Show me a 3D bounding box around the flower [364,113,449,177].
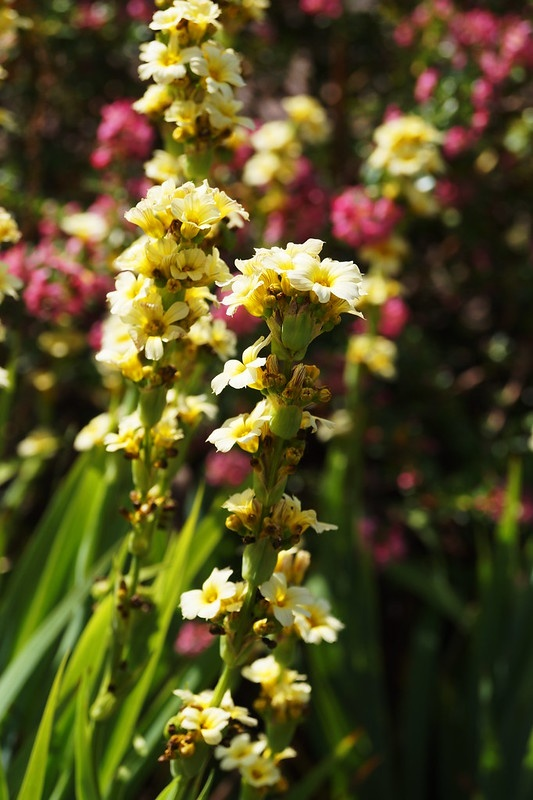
[{"bbox_3d":[0.357,-0.647,2.050,0.204,0.181,0.075,24,-2,1],"label":"flower"}]
